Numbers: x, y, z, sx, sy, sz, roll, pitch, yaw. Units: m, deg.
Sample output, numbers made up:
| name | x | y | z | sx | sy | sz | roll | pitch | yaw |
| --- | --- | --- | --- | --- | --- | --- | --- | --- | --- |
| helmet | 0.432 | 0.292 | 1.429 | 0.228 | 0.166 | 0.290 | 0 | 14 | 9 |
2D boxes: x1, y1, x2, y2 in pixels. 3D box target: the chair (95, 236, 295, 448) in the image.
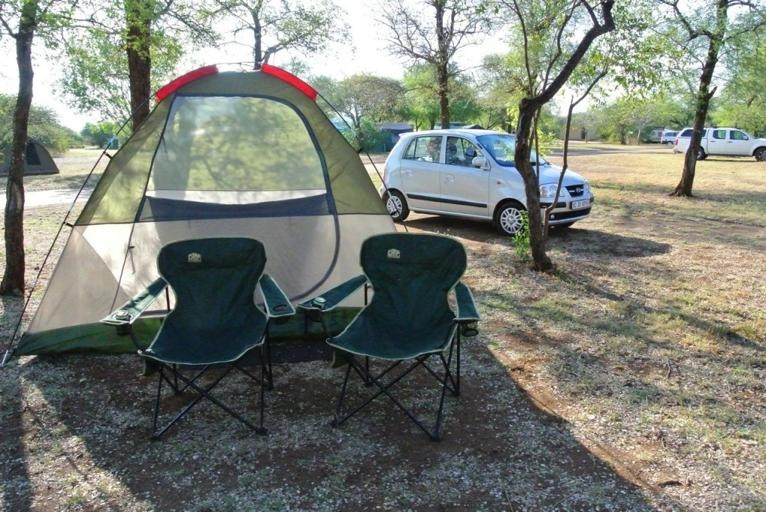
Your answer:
| name | x | y | z | sx | sy | sz | roll | pitch | yaw |
| --- | --- | --- | --- | --- | --- | --- | --- | --- | --- |
| chair | -1.718 | 0.727 | 5.926 | 1.457 | 1.661 | 1.104 | -6 | 15 | -23 |

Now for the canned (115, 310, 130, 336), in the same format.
| name | x | y | z | sx | sy | sz | roll | pitch | yaw |
| --- | --- | --- | --- | --- | --- | --- | --- | --- | --- |
| canned | -2.367 | 0.613 | 5.513 | 0.157 | 0.194 | 0.273 | -6 | 15 | -24 |

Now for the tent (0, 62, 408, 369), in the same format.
| name | x | y | z | sx | sy | sz | roll | pitch | yaw |
| --- | --- | --- | --- | --- | --- | --- | --- | --- | --- |
| tent | -1.997 | -0.378 | 7.642 | 3.616 | 2.171 | 3.595 | -1 | 7 | -5 |

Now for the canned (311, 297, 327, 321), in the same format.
| name | x | y | z | sx | sy | sz | roll | pitch | yaw |
| --- | --- | --- | --- | --- | --- | --- | --- | --- | --- |
| canned | -0.604 | 0.511 | 5.809 | 0.201 | 0.219 | 0.188 | -1 | 8 | -1 |

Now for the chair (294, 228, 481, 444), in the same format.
| name | x | y | z | sx | sy | sz | roll | pitch | yaw |
| --- | --- | --- | --- | --- | --- | --- | --- | --- | --- |
| chair | 0.187 | 0.736 | 5.834 | 1.643 | 1.574 | 1.312 | 5 | 15 | 25 |

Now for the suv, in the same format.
| name | x | y | z | sx | sy | sz | roll | pitch | yaw |
| --- | --- | --- | --- | --- | --- | --- | --- | --- | --- |
| suv | 1.837 | -1.422 | 11.151 | 3.501 | 1.437 | 1.984 | 6 | 13 | 34 |
